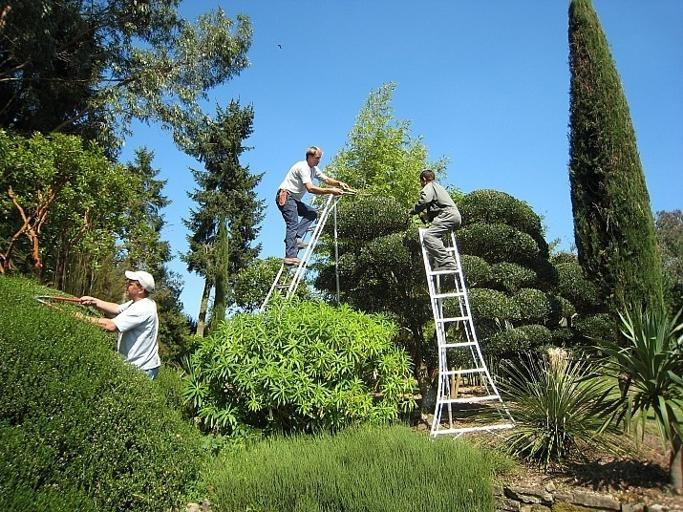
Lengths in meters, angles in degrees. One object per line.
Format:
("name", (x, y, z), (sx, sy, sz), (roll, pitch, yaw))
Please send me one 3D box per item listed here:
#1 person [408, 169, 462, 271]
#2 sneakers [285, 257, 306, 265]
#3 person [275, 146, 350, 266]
("person", (1.894, -0.819, 9.417), (0.993, 2.361, 0.753), (18, -20, -35))
("sneakers", (-0.827, 0.075, 8.197), (0.326, 0.177, 0.130), (-1, -2, -5))
("person", (-0.657, -0.888, 8.819), (1.127, 2.164, 0.728), (10, -17, -14))
